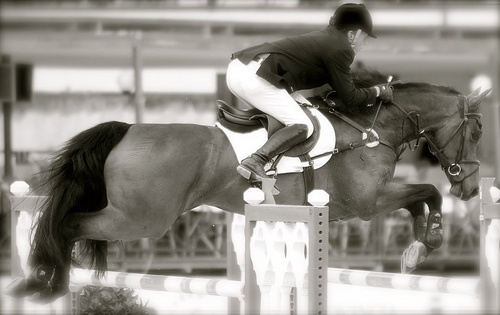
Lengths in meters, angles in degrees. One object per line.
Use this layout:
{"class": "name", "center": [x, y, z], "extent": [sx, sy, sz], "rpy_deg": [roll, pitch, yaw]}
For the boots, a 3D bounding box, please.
{"class": "boots", "center": [0.280, -0.043, 14.472], "extent": [1.419, 0.347, 0.407], "rpy_deg": [-30, 24, -16]}
